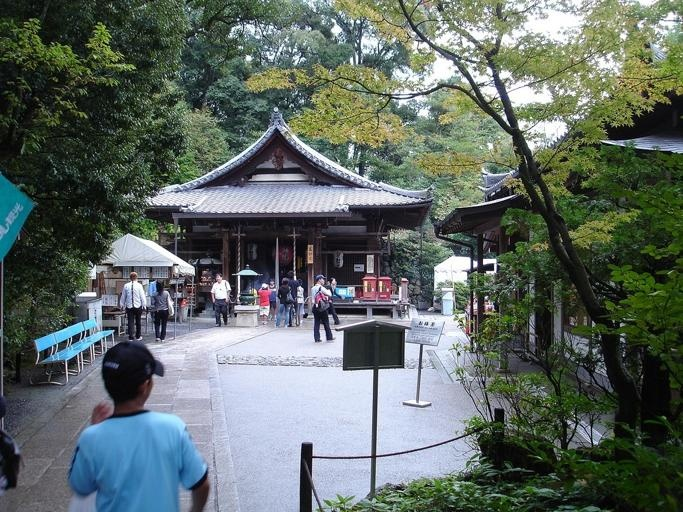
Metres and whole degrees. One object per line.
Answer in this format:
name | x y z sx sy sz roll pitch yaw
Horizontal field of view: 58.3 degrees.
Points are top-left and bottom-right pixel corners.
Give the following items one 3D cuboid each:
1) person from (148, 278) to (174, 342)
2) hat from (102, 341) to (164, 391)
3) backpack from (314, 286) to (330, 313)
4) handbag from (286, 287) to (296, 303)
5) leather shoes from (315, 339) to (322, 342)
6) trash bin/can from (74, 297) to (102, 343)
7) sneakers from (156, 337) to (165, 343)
person | -4.805 1.444 16.412 0.565 1.625 2.020 2 -7 -16
hat | -1.261 0.645 3.753 0.242 0.214 0.343 6 16 17
backpack | -0.519 1.147 16.462 0.407 0.683 0.278 2 -7 -12
handbag | -1.611 1.233 20.100 0.162 0.514 0.424 -3 -7 28
leather shoes | -0.606 2.256 16.451 0.178 0.080 0.061 -5 0 31
trash bin/can | -5.619 1.361 13.514 0.481 1.152 1.146 -1 -3 0
sneakers | -4.724 2.171 15.980 0.095 0.130 0.295 0 -19 -5
